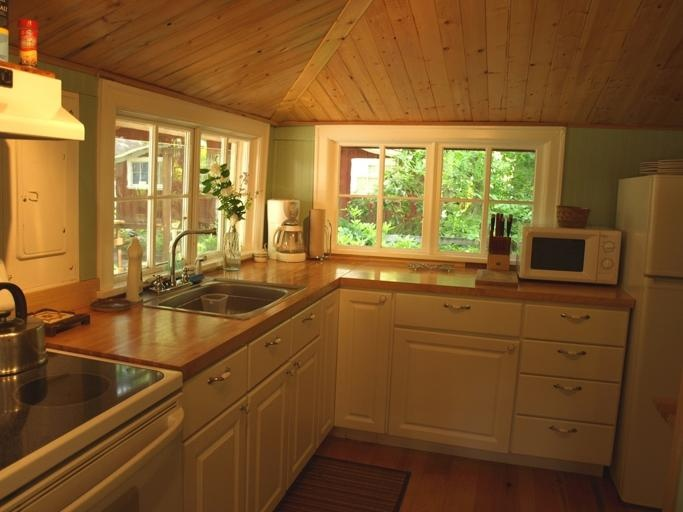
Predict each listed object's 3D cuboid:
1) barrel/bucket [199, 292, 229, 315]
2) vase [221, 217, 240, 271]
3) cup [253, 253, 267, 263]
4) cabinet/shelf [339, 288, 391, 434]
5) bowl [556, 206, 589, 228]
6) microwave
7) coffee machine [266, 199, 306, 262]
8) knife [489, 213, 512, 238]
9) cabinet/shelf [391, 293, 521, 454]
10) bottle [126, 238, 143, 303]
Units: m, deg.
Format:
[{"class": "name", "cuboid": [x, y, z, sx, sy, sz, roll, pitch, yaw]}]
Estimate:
[{"class": "barrel/bucket", "cuboid": [-0.683, 0.256, 2.803, 0.120, 0.122, 0.106, -1, -2, 6]}, {"class": "vase", "cuboid": [-0.693, -0.072, 3.277, 0.096, 0.330, 0.127, 0, 13, -13]}, {"class": "cup", "cuboid": [-0.575, 0.012, 3.665, 0.074, 0.051, 0.073, 1, 3, 0]}, {"class": "cabinet/shelf", "cuboid": [0.131, 0.671, 3.286, 0.338, 0.886, 0.094, 3, -2, 25]}, {"class": "bowl", "cuboid": [1.466, -0.231, 3.313, 0.148, 0.100, 0.155, -1, 0, 0]}, {"class": "microwave", "cuboid": [1.408, 0.004, 3.202, 0.565, 0.362, 0.370, 2, 1, 18]}, {"class": "coffee machine", "cuboid": [-0.420, -0.189, 3.802, 0.288, 0.456, 0.321, -10, 16, -39]}, {"class": "knife", "cuboid": [1.054, -0.198, 3.468, 0.151, 0.188, 0.141, 6, 12, 20]}, {"class": "cabinet/shelf", "cuboid": [0.751, 0.676, 3.462, 0.831, 0.993, 0.731, 6, 7, 23]}, {"class": "bottle", "cuboid": [-0.983, 0.061, 2.467, 0.077, 0.295, 0.151, -3, 14, -22]}]
